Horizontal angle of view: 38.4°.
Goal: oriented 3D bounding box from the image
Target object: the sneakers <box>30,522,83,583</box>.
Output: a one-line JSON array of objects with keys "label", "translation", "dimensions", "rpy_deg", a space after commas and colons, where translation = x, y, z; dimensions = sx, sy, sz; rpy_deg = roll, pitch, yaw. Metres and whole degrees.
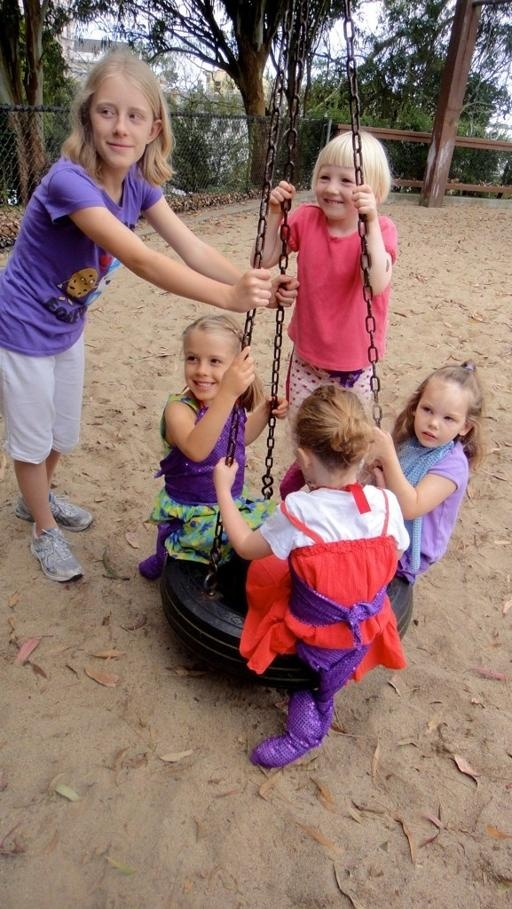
[{"label": "sneakers", "translation": [-0.758, 0.340, 2.824], "dimensions": [0.111, 0.142, 0.287], "rpy_deg": [-20, 49, -43]}]

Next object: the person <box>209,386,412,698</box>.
[{"label": "person", "translation": [0.168, 0.250, 2.001], "dimensions": [0.606, 0.804, 0.347], "rpy_deg": [8, 22, -3]}]
